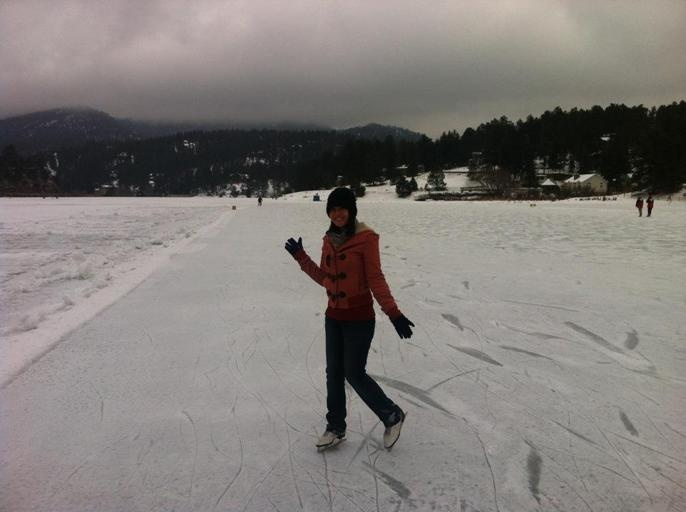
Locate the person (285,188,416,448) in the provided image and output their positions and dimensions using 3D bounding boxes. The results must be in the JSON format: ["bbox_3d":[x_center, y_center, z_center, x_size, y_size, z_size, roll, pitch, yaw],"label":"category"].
[{"bbox_3d":[0.088,0.552,4.041,1.039,2.309,0.552,1,11,7],"label":"person"}]

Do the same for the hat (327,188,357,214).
[{"bbox_3d":[-0.011,-0.488,3.997,0.203,0.238,0.233,6,4,-7],"label":"hat"}]
